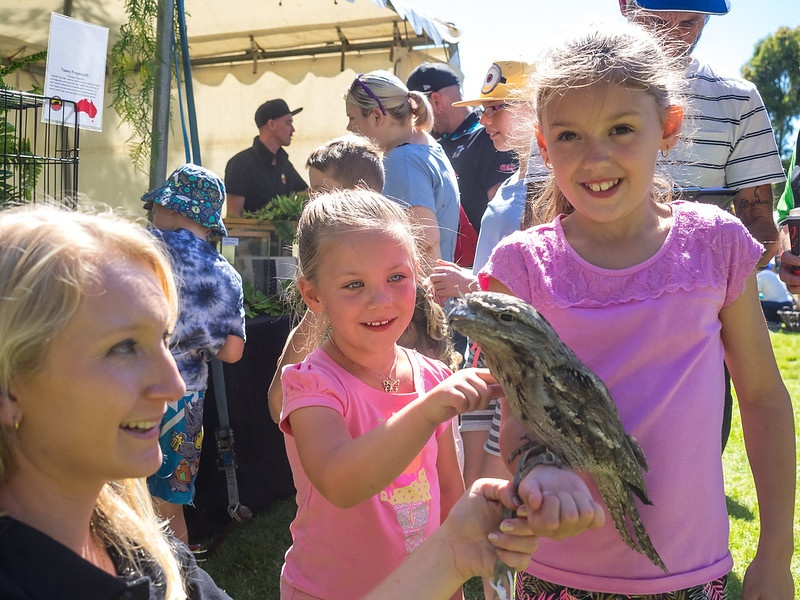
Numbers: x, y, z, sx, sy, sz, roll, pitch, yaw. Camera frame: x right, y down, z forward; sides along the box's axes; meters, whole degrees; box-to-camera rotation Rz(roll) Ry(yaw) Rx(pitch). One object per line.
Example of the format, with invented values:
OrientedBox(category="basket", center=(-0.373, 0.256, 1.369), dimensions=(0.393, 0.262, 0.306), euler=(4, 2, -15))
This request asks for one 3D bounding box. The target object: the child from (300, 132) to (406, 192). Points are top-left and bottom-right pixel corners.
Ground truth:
OrientedBox(category="child", center=(-0.298, -0.724, 4.335), dimensions=(0.352, 0.415, 0.308), euler=(-1, 13, 1))

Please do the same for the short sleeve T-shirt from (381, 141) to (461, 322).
OrientedBox(category="short sleeve T-shirt", center=(0.103, -0.453, 4.819), dimensions=(0.461, 0.941, 0.893), euler=(3, 11, 21))

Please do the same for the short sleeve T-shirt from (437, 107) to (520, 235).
OrientedBox(category="short sleeve T-shirt", center=(0.513, -0.812, 5.348), dimensions=(0.320, 0.902, 1.044), euler=(-19, 11, -3))

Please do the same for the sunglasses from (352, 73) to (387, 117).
OrientedBox(category="sunglasses", center=(-0.158, -1.220, 4.817), dimensions=(0.066, 0.225, 0.167), euler=(-47, 19, -20))

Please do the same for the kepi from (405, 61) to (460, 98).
OrientedBox(category="kepi", center=(0.255, -1.802, 6.722), dimensions=(0.418, 0.295, 0.352), euler=(-9, 32, 9))

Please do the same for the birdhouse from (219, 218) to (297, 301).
OrientedBox(category="birdhouse", center=(-0.988, -0.325, 5.753), dimensions=(0.613, 0.715, 0.499), euler=(0, 1, -14))

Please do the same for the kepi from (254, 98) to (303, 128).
OrientedBox(category="kepi", center=(-1.253, -1.861, 8.375), dimensions=(0.410, 0.193, 0.259), euler=(-27, 19, -12))
